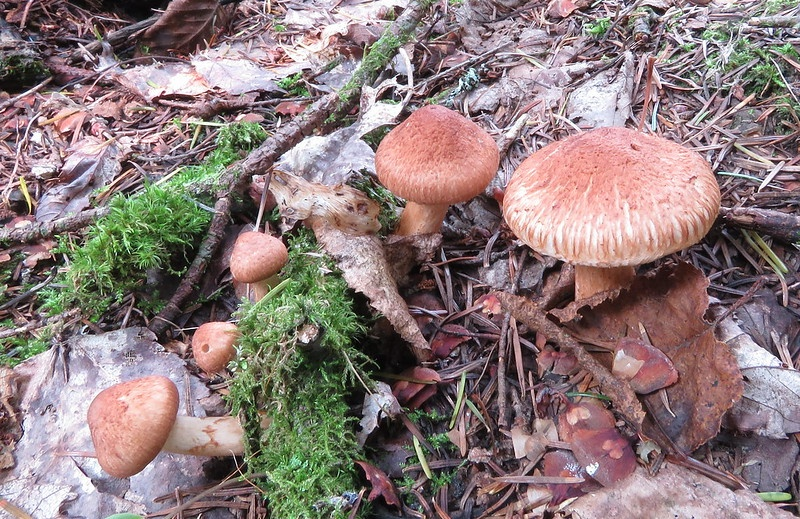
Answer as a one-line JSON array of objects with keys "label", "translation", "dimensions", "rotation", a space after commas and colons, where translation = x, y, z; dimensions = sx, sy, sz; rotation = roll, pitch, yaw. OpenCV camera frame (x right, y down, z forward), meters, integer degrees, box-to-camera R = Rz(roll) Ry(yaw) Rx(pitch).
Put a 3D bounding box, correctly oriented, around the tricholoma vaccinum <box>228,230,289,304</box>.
[{"label": "tricholoma vaccinum", "translation": [-1.105, 0.077, 4.308], "dimensions": [0.371, 0.435, 0.351], "rotation": [-33, 15, 28]}]
